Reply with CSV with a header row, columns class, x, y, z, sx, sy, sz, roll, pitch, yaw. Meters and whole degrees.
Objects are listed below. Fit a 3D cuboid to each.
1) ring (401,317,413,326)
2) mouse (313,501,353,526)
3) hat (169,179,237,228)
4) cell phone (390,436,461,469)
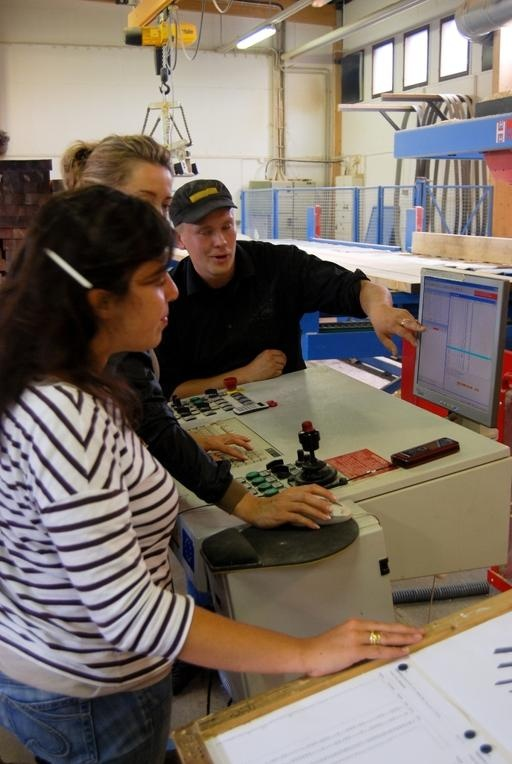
class,x,y,z,sx,sy,sz,roll,pitch,yaw
ring,0.397,-0.160,1.549,0.020,0.010,0.027,0,17,6
mouse,0.132,0.223,1.001,0.054,0.018,0.031,-9,9,-1
hat,-0.179,-0.567,1.944,0.148,0.104,0.201,-22,10,-19
cell phone,0.343,0.129,1.201,0.130,0.029,0.057,-15,9,-19
